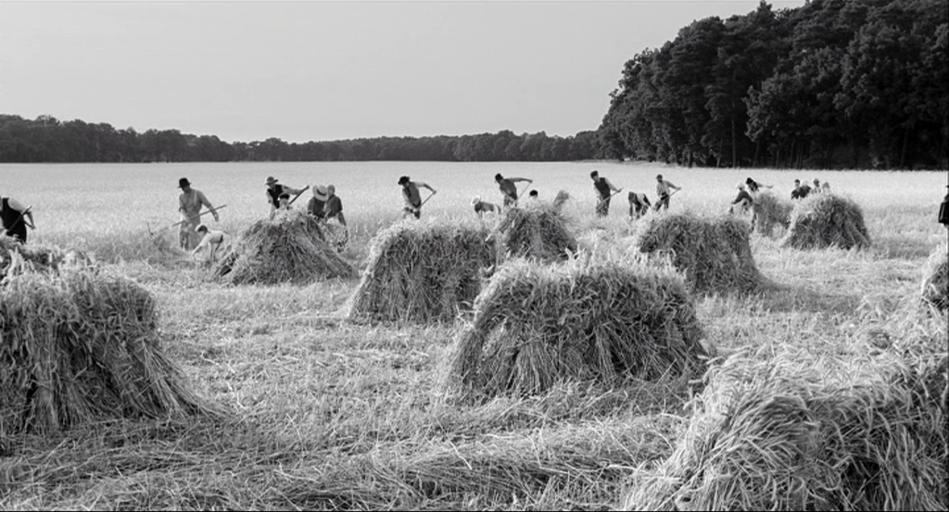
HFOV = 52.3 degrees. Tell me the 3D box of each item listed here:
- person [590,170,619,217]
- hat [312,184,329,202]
[{"bbox_3d":[6.112,-2.615,44.467,1.329,2.895,0.975,-12,39,-2],"label":"person"},{"bbox_3d":[-6.233,-2.513,39.507,0.512,0.699,0.718,6,13,44],"label":"hat"}]
